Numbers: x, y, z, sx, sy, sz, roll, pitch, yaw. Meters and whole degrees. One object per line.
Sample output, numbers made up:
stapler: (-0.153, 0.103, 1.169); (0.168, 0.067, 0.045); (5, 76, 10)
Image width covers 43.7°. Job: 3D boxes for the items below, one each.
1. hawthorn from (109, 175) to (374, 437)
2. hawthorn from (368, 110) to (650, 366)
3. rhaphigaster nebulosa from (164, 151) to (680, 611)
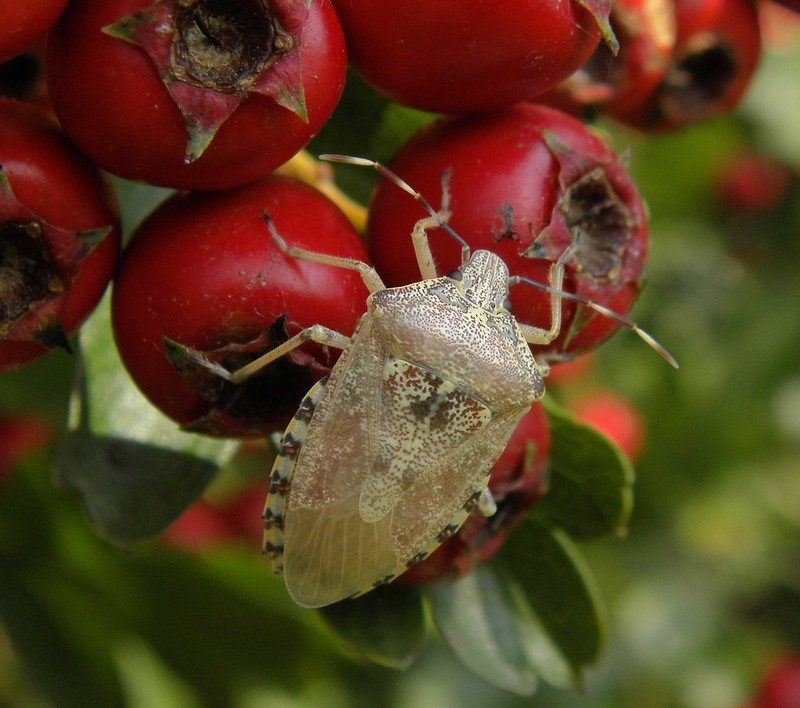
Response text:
hawthorn: (-0.237, -0.088, 1.436); (0.341, 0.392, 0.154); (40, -8, 7)
hawthorn: (0.163, -0.185, 1.598); (0.351, 0.359, 0.340); (16, -19, -24)
rhaphigaster nebulosa: (0.011, 0.105, 1.538); (0.670, 0.702, 0.209); (32, 7, -22)
